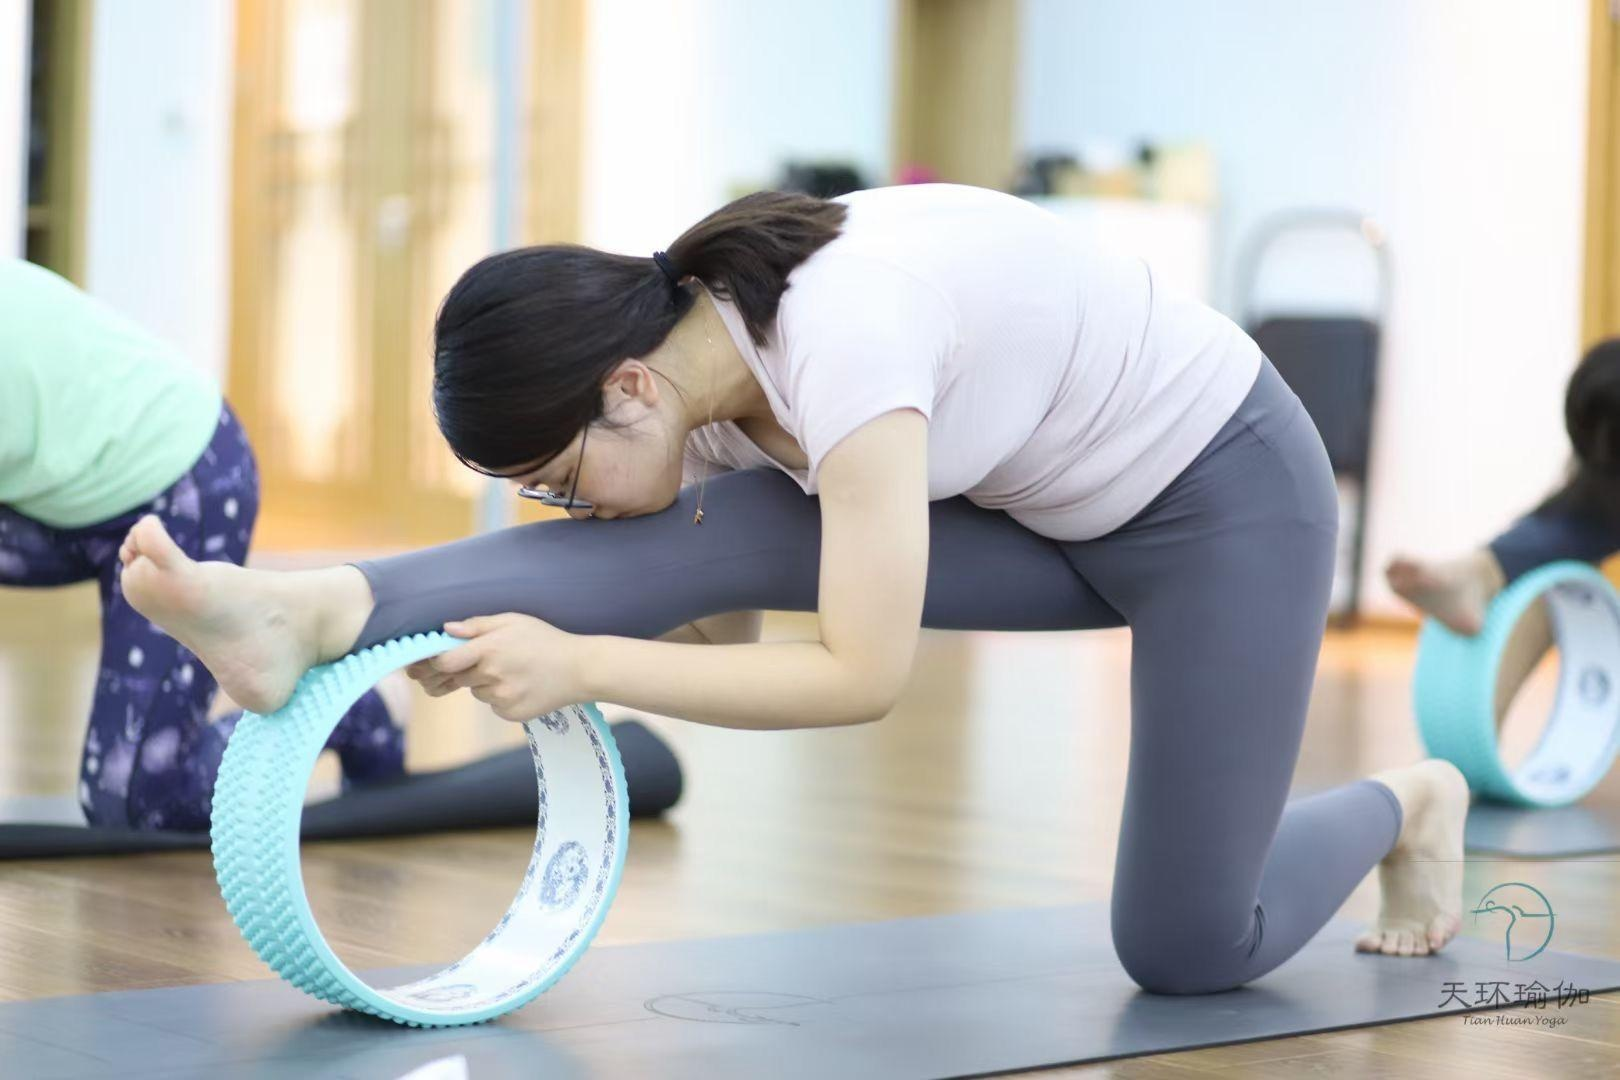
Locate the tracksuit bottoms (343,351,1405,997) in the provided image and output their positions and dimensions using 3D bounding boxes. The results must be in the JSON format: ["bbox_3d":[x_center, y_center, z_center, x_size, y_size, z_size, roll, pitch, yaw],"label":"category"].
[{"bbox_3d":[0.174,0.235,3.059,1.652,0.898,0.645,-5,4,-17],"label":"tracksuit bottoms"}]

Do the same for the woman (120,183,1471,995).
[{"bbox_3d":[0.080,0.136,2.846,1.967,1.232,0.710,-6,11,-11],"label":"woman"}]
